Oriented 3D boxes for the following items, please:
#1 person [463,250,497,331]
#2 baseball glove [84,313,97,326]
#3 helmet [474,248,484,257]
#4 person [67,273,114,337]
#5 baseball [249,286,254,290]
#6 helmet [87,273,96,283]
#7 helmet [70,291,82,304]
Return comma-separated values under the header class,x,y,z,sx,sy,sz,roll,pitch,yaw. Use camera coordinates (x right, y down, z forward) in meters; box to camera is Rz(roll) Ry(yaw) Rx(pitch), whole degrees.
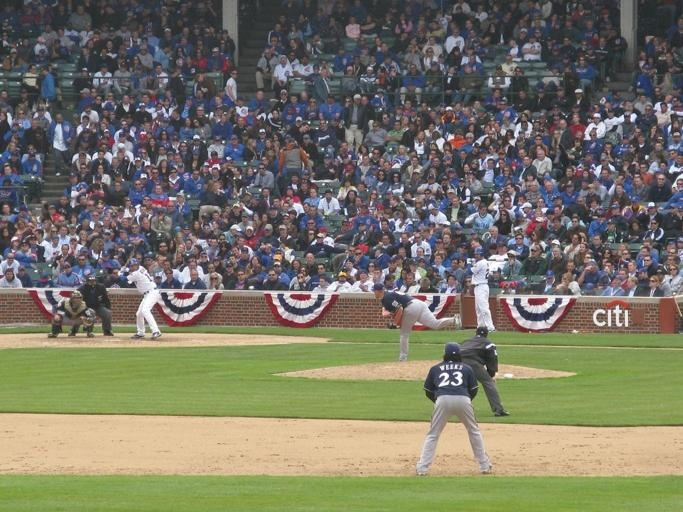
class,x,y,z,sx,sy,sz,roll,pitch,yaw
person,4.376,1.031,60.693,0.877,2.474,0.669,2,4,4
baseball glove,-7.854,1.943,61.551,0.369,0.322,0.321,12,8,38
helmet,4.478,-0.104,62.917,0.266,0.247,0.231,4,1,2
person,-7.646,1.542,61.509,0.759,2.047,1.366,0,7,13
baseball,-2.928,1.043,65.028,0.127,0.091,0.124,1,-5,-2
helmet,-7.736,0.700,61.188,0.209,0.276,0.279,0,-13,-20
helmet,-8.173,1.244,60.822,0.352,0.392,0.401,-3,7,-12
